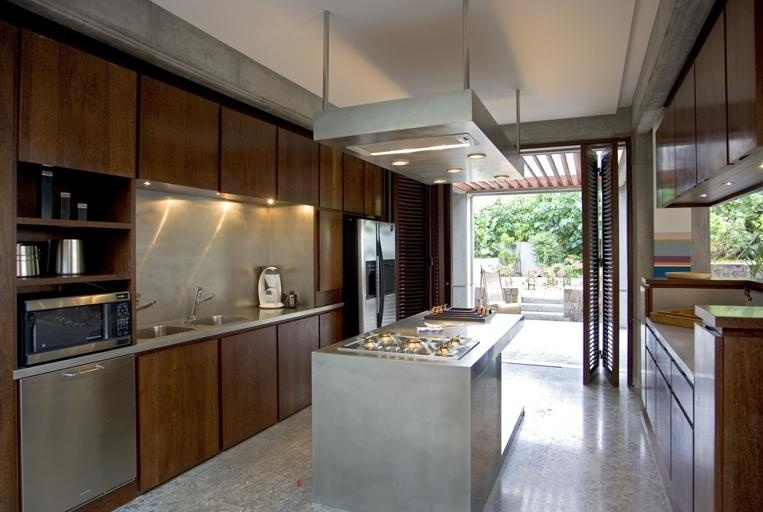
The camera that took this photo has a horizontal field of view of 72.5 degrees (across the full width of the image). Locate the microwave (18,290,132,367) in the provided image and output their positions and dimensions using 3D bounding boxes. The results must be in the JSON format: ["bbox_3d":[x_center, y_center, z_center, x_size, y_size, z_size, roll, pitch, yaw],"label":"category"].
[{"bbox_3d":[-2.010,0.503,3.553,0.641,0.395,0.384,-6,-12,-16],"label":"microwave"}]

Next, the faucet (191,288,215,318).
[{"bbox_3d":[-1.619,0.425,4.699,0.214,0.289,0.310,-3,0,-18],"label":"faucet"}]

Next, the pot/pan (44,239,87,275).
[{"bbox_3d":[-2.111,0.018,3.480,0.217,0.270,0.153,-3,0,-37],"label":"pot/pan"}]

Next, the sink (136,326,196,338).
[{"bbox_3d":[-1.751,0.620,4.242,0.422,0.113,0.218,-3,0,-19],"label":"sink"}]

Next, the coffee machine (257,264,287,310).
[{"bbox_3d":[-1.099,0.329,5.250,0.275,0.397,0.273,0,0,42],"label":"coffee machine"}]

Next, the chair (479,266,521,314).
[{"bbox_3d":[2.212,0.663,9.787,0.600,0.805,2.777,-3,0,12],"label":"chair"}]

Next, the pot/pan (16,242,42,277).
[{"bbox_3d":[-2.242,0.033,3.295,0.108,0.237,0.183,-3,0,-29],"label":"pot/pan"}]

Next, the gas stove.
[{"bbox_3d":[0.207,0.628,3.655,0.895,0.164,0.487,-3,0,17],"label":"gas stove"}]

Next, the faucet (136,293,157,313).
[{"bbox_3d":[-1.888,0.387,4.187,0.138,0.144,0.364,-3,0,-23],"label":"faucet"}]
